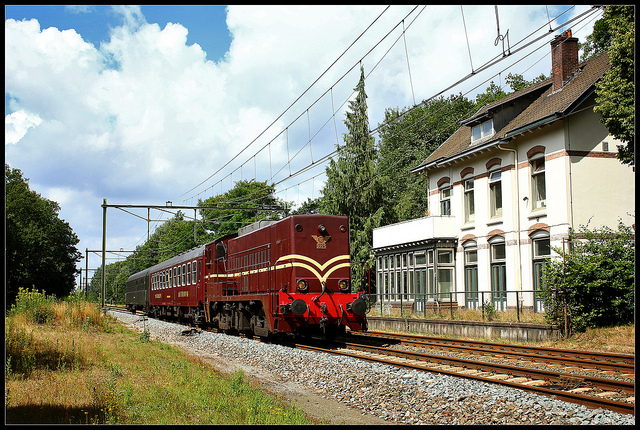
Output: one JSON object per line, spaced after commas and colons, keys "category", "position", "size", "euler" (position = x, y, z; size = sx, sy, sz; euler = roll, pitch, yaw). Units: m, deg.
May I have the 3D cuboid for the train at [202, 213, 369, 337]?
{"category": "train", "position": [-2.633, 3.100, 23.938], "size": [3.457, 5.010, 12.181], "euler": [4, -10, -28]}
